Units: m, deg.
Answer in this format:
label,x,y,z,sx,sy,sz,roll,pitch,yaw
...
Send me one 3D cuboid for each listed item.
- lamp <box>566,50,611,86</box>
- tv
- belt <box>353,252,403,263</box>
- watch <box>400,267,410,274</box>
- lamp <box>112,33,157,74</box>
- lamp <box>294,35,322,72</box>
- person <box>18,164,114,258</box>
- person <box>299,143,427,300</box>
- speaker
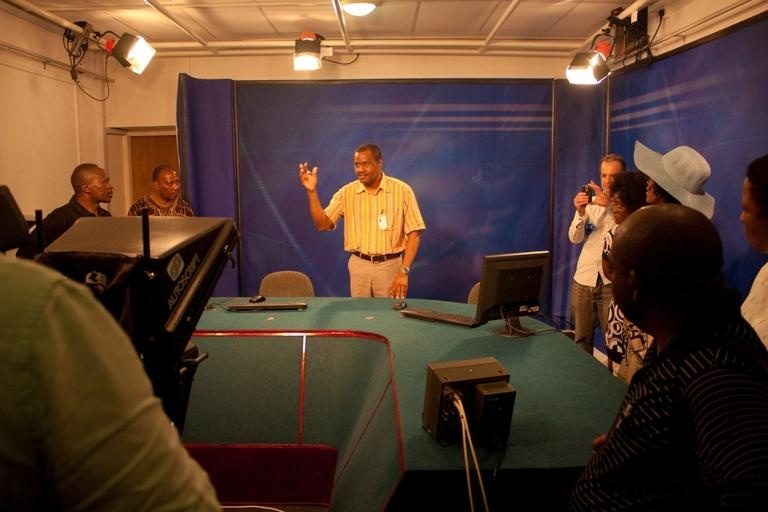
label,x,y,z,sx,sy,sz,roll,pitch,yaw
lamp,1.672,-1.550,4.759,0.275,0.238,0.217,6,8,33
tv,0.727,0.200,3.185,0.447,0.452,0.186,-3,11,-29
belt,-0.055,0.003,4.680,0.379,0.064,0.129,2,7,-3
watch,0.156,0.115,4.241,0.063,0.028,0.076,0,8,-8
lamp,-2.043,-1.667,4.735,0.315,0.301,0.205,-1,7,-19
lamp,-0.637,-1.737,4.900,0.208,0.309,0.222,1,7,-5
person,-2.046,-0.317,3.693,0.346,0.553,0.713,4,10,-10
person,-0.127,-0.282,4.666,0.893,1.205,0.549,2,6,3
speaker,0.327,0.541,2.291,0.313,0.300,0.318,1,12,-3
